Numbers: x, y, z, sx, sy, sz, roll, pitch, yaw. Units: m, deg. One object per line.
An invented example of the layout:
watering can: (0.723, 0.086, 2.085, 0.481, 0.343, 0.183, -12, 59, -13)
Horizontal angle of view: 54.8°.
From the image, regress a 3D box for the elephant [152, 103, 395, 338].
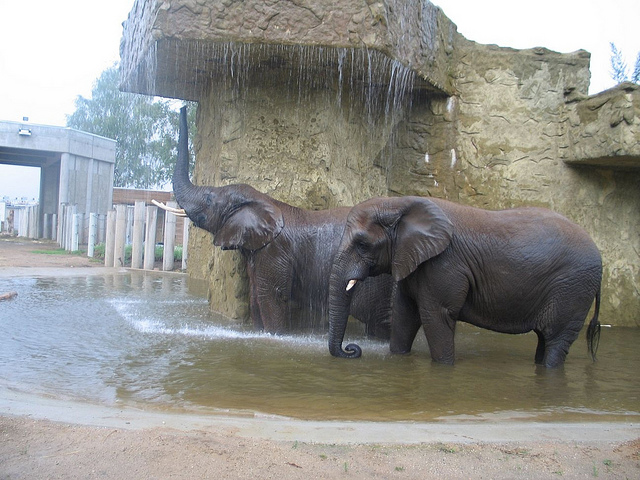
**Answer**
elephant: (-0.653, 0.053, 9.304, 3.734, 3.280, 1.260, 8, -14, -6)

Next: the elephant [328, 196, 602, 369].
elephant: (1.801, 0.513, 7.616, 3.184, 2.009, 0.858, 3, 0, -7)
